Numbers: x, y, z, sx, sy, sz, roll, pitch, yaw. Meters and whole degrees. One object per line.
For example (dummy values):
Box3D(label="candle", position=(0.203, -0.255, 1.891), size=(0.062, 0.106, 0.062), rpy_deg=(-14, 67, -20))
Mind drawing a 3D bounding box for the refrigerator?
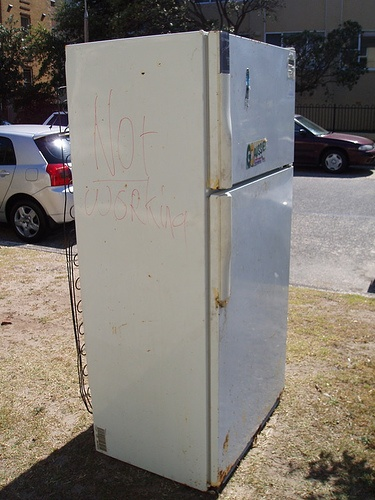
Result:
Box3D(label="refrigerator", position=(0.083, 0.099, 2.312), size=(1.134, 2.109, 0.771), rpy_deg=(-7, 14, -26))
